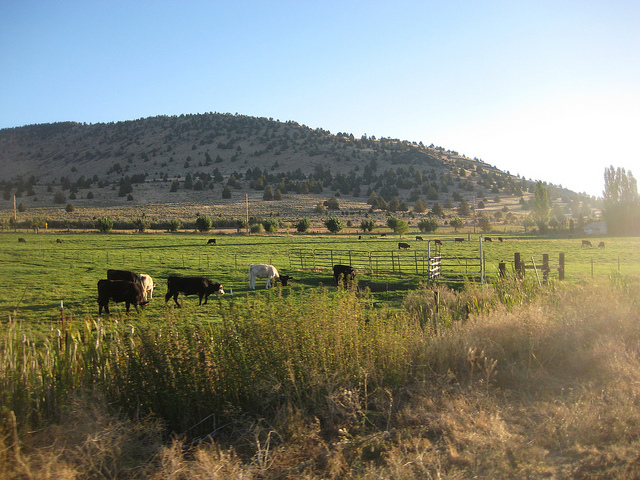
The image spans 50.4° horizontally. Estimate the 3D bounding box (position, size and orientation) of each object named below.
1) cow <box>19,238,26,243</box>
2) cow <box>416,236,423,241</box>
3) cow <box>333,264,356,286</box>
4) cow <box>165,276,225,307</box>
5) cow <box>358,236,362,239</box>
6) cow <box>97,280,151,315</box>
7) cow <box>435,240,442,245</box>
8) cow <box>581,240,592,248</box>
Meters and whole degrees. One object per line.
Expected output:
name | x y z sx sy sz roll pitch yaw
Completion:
cow | -25.096 0.004 57.266 0.955 0.529 0.250 6 5 41
cow | 10.341 -0.217 70.647 0.286 0.619 1.106 8 10 35
cow | 1.011 1.287 27.564 0.434 0.863 1.481 0 -2 -35
cow | -4.263 1.661 22.803 1.196 0.906 2.123 0 2 30
cow | 4.361 -0.364 74.029 0.221 0.453 0.238 2 15 5
cow | -5.959 1.676 20.388 1.557 0.989 0.933 -2 2 -36
cow | 11.090 0.107 64.111 0.896 0.508 0.280 -11 15 -43
cow | 23.566 0.315 60.277 0.393 0.914 1.536 8 9 44
